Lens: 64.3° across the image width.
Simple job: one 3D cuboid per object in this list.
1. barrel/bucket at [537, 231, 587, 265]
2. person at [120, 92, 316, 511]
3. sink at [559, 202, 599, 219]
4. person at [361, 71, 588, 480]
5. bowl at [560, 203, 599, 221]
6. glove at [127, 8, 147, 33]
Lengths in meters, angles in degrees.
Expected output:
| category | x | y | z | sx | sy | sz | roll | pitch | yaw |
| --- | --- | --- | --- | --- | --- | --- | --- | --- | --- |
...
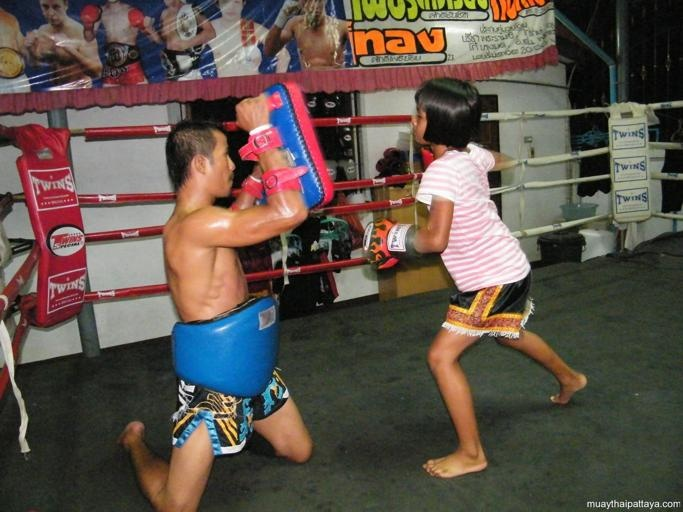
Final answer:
| category | x | y | z | sx | sy | sz | roll | pitch | yaw |
| --- | --- | --- | --- | --- | --- | --- | --- | --- | --- |
| barrel/bucket | 2.041 | -0.099 | 5.045 | 0.340 | 0.333 | 0.318 | -2 | 5 | 0 |
| person | -0.550 | 0.206 | 2.168 | 0.756 | 1.582 | 0.633 | -13 | 17 | -25 |
| sink | 2.439 | -0.466 | 5.576 | 0.259 | 0.112 | 0.255 | -2 | 2 | 41 |
| person | 0.565 | 0.037 | 2.379 | 0.820 | 1.588 | 0.483 | -16 | 19 | -33 |
| bowl | 2.442 | -0.471 | 5.571 | 0.255 | 0.110 | 0.252 | -4 | 1 | 0 |
| glove | -1.370 | -1.584 | 3.635 | 0.095 | 0.129 | 0.046 | -32 | 28 | -7 |
